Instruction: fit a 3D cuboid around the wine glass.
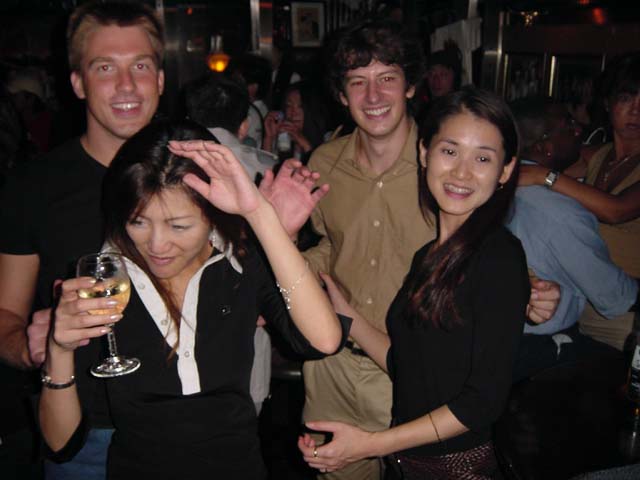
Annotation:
[{"bbox_3d":[-0.837,0.287,2.096,0.192,0.462,0.330,-9,17,-23],"label":"wine glass"}]
